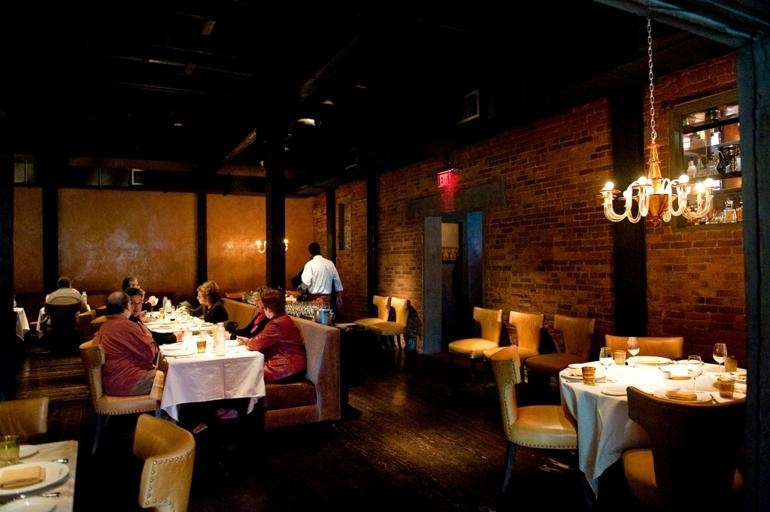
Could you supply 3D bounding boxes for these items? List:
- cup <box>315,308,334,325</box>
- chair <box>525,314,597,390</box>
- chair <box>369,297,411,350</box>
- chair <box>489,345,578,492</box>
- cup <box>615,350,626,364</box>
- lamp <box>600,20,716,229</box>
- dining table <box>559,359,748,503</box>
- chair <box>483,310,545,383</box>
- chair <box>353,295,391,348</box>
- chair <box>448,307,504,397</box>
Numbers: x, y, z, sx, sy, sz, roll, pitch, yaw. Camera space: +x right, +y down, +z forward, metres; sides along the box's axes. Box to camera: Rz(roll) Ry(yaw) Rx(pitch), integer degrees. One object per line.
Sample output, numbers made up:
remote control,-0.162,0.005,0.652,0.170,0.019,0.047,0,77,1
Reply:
cup,-0.763,0.745,6.899,0.210,0.187,0.160,1,-3,-13
chair,2.242,1.273,7.013,0.725,1.009,0.737,-5,1,-19
chair,0.078,1.202,9.875,0.700,0.917,0.757,0,2,-1
chair,1.505,1.600,5.439,0.945,1.212,0.991,0,1,-9
cup,2.307,0.992,5.481,0.114,0.123,0.119,-1,-6,0
lamp,2.993,-1.408,5.961,1.132,2.257,1.412,4,12,21
dining table,2.109,1.373,5.283,1.349,0.794,1.293,-2,6,-5
chair,1.751,1.185,7.490,0.716,0.902,0.651,2,-1,-26
chair,-0.217,1.126,10.232,0.618,0.808,0.592,-3,2,-22
chair,1.357,1.244,8.149,0.721,0.972,0.710,-2,2,-19
